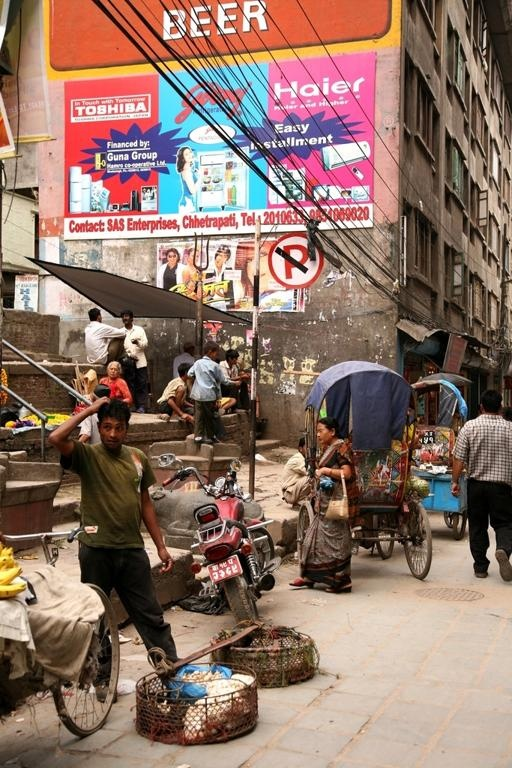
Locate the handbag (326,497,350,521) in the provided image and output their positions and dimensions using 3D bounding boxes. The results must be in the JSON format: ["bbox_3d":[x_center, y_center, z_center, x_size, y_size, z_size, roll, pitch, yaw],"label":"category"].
[{"bbox_3d":[0.725,1.105,6.447,0.170,0.268,0.078,-14,-41,32],"label":"handbag"}]

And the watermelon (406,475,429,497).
[{"bbox_3d":[1.980,1.210,8.831,0.271,0.339,0.178,5,-32,-8],"label":"watermelon"}]

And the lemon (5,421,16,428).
[{"bbox_3d":[-2.924,0.483,8.718,0.089,0.050,0.090,2,4,20],"label":"lemon"}]

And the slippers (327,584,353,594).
[{"bbox_3d":[0.782,1.889,6.719,0.246,0.120,0.084,3,-7,-5],"label":"slippers"}]

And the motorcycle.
[{"bbox_3d":[-0.195,1.098,5.632,0.681,1.281,1.852,-18,-1,0],"label":"motorcycle"}]

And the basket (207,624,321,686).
[{"bbox_3d":[0.056,1.564,4.262,0.520,0.190,0.509,2,0,11],"label":"basket"}]

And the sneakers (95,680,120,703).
[{"bbox_3d":[-0.721,1.530,3.621,0.093,0.149,0.151,5,-17,-29],"label":"sneakers"}]

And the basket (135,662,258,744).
[{"bbox_3d":[-0.268,1.476,3.439,0.359,0.139,0.372,0,-2,2],"label":"basket"}]

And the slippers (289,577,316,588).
[{"bbox_3d":[0.441,1.902,6.973,0.270,0.110,0.101,3,-4,0],"label":"slippers"}]

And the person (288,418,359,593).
[{"bbox_3d":[0.694,1.141,6.722,0.458,1.250,0.643,1,1,-40],"label":"person"}]
